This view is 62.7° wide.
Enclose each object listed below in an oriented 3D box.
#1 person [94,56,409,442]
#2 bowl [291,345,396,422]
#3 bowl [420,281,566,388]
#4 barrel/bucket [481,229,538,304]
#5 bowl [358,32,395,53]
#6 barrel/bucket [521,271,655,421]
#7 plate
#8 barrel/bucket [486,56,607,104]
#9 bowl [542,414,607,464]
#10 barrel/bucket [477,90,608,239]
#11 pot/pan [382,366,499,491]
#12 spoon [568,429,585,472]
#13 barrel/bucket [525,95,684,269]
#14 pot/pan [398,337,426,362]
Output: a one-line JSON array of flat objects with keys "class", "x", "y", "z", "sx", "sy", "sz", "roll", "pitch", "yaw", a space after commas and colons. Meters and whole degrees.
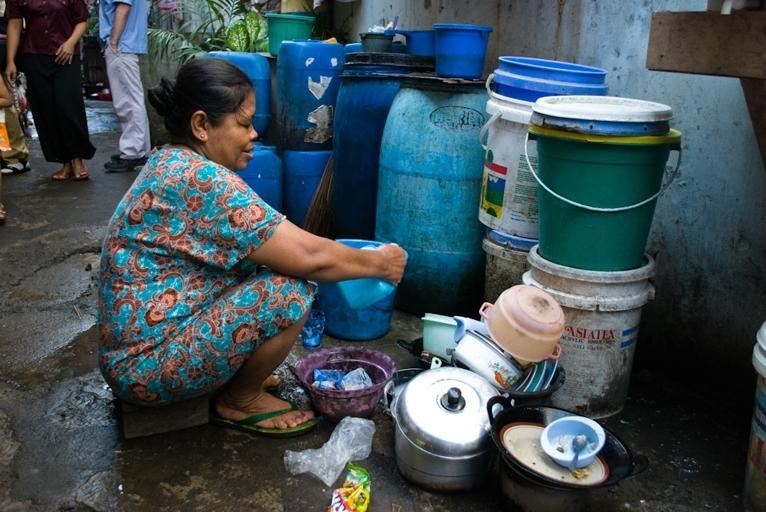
[{"class": "person", "x": -0.682, "y": 0.008, "z": 2.748, "sx": 1.150, "sy": 1.645, "sz": 0.405, "roll": -3, "pitch": 22, "yaw": -10}, {"class": "bowl", "x": -0.198, "y": 0.630, "z": 3.057, "sx": 0.480, "sy": 0.200, "sz": 0.456, "roll": 1, "pitch": 17, "yaw": 0}, {"class": "bowl", "x": 0.556, "y": 0.337, "z": 2.922, "sx": 0.350, "sy": 0.457, "sz": 0.530, "roll": -17, "pitch": 27, "yaw": -38}, {"class": "barrel/bucket", "x": 0.662, "y": 0.047, "z": 3.209, "sx": 0.264, "sy": 0.379, "sz": 0.269, "roll": 1, "pitch": 23, "yaw": -1}, {"class": "bowl", "x": -0.044, "y": -1.387, "z": 4.160, "sx": 0.200, "sy": 0.115, "sz": 0.183, "roll": 0, "pitch": 10, "yaw": 0}, {"class": "barrel/bucket", "x": 1.009, "y": 0.421, "z": 3.247, "sx": 0.691, "sy": 0.556, "sz": 0.608, "roll": -8, "pitch": 19, "yaw": -34}, {"class": "plate", "x": 0.670, "y": 0.779, "z": 2.478, "sx": 0.425, "sy": 0.107, "sz": 0.271, "roll": 15, "pitch": 24, "yaw": 33}, {"class": "barrel/bucket", "x": 0.857, "y": -0.877, "z": 3.150, "sx": 0.383, "sy": 0.129, "sz": 0.359, "roll": 2, "pitch": 20, "yaw": -1}, {"class": "bowl", "x": 0.767, "y": 0.733, "z": 2.493, "sx": 0.206, "sy": 0.072, "sz": 0.185, "roll": 19, "pitch": 42, "yaw": 27}, {"class": "barrel/bucket", "x": 0.638, "y": -0.498, "z": 3.353, "sx": 0.711, "sy": 0.751, "sz": 0.632, "roll": -5, "pitch": 15, "yaw": -37}, {"class": "pot/pan", "x": 0.257, "y": 0.743, "z": 2.705, "sx": 0.404, "sy": 0.325, "sz": 0.497, "roll": -13, "pitch": 26, "yaw": -29}, {"class": "spoon", "x": 0.766, "y": 0.746, "z": 2.445, "sx": 0.055, "sy": 0.138, "sz": 0.030, "roll": 30, "pitch": -23, "yaw": -18}, {"class": "barrel/bucket", "x": 0.859, "y": -0.326, "z": 3.108, "sx": 0.873, "sy": 0.776, "sz": 0.757, "roll": 0, "pitch": 9, "yaw": -4}, {"class": "pot/pan", "x": 0.162, "y": 0.494, "z": 3.412, "sx": 0.135, "sy": 0.026, "sz": 0.089, "roll": -6, "pitch": 29, "yaw": -20}]
